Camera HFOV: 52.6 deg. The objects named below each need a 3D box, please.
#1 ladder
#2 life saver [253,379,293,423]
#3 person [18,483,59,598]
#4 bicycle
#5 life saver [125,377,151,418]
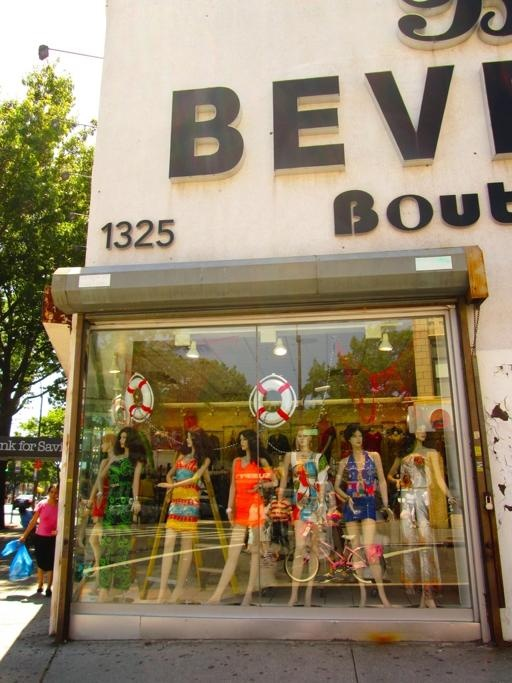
[{"bbox_3d":[-0.604,1.768,4.836,0.800,1.836,0.630,-5,-35,6],"label":"ladder"},{"bbox_3d":[0.186,0.559,5.252,0.478,0.093,0.523,1,24,-11],"label":"life saver"},{"bbox_3d":[-3.009,2.804,7.124,0.432,1.551,2.028,4,-10,-22],"label":"person"},{"bbox_3d":[0.739,1.953,4.674,0.748,0.489,0.379,-1,-24,6],"label":"bicycle"},{"bbox_3d":[-1.184,0.582,5.240,0.288,0.482,0.059,1,-10,-4],"label":"life saver"}]
